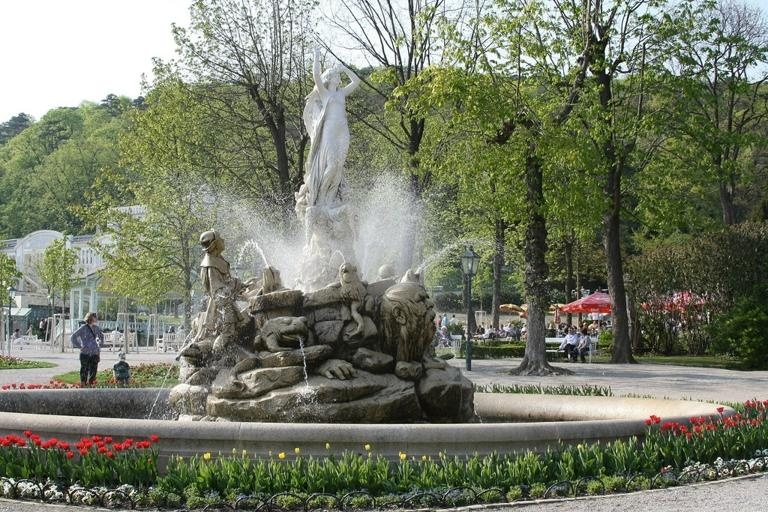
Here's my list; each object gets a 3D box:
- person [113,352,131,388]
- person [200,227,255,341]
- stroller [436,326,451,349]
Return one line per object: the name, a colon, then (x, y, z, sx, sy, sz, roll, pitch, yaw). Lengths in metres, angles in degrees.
person: (-8.885, 3.806, 35.806, 0.448, 1.065, 0.764, 0, -8, -21)
person: (-4.644, 0.796, 30.119, 1.205, 2.987, 0.579, -1, -7, -15)
stroller: (3.220, 4.525, 58.473, 0.757, 0.880, 1.523, -2, -8, 0)
